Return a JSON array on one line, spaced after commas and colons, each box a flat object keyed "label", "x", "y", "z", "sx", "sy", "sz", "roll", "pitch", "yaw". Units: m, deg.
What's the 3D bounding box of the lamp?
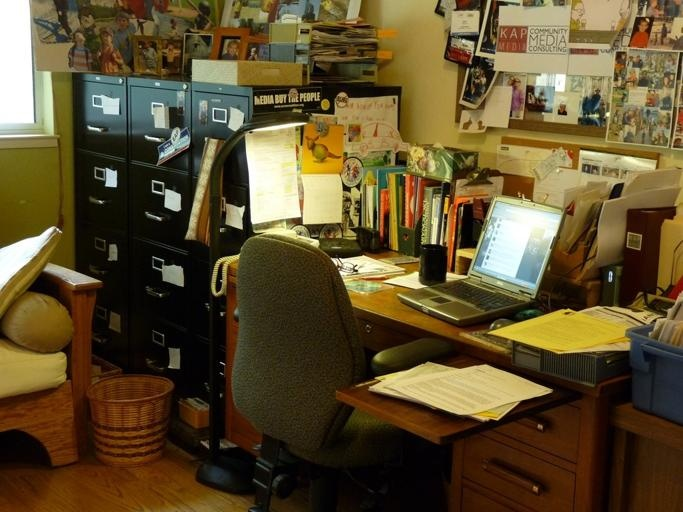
[{"label": "lamp", "x": -0.452, "y": 0.145, "z": 2.490, "sx": 0.608, "sy": 1.767, "sz": 0.464, "roll": -2, "pitch": 7, "yaw": -3}]

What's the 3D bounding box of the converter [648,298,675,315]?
[{"label": "converter", "x": 1.031, "y": 0.160, "z": 1.767, "sx": 0.068, "sy": 0.038, "sz": 0.118, "roll": 8, "pitch": 14, "yaw": 30}]

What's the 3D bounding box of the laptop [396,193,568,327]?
[{"label": "laptop", "x": 0.488, "y": 0.006, "z": 1.947, "sx": 0.525, "sy": 0.320, "sz": 0.395, "roll": -10, "pitch": 15, "yaw": -19}]

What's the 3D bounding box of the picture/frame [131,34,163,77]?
[{"label": "picture/frame", "x": -1.173, "y": -1.175, "z": 3.238, "sx": 0.268, "sy": 0.233, "sz": 0.143, "roll": 11, "pitch": 15, "yaw": 40}]

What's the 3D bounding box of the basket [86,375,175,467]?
[{"label": "basket", "x": -1.074, "y": 0.801, "z": 2.715, "sx": 0.356, "sy": 0.264, "sz": 0.335, "roll": 6, "pitch": 3, "yaw": 44}]

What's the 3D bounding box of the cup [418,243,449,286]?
[{"label": "cup", "x": 0.368, "y": 0.037, "z": 2.154, "sx": 0.126, "sy": 0.140, "sz": 0.124, "roll": 1, "pitch": 5, "yaw": 0}]
